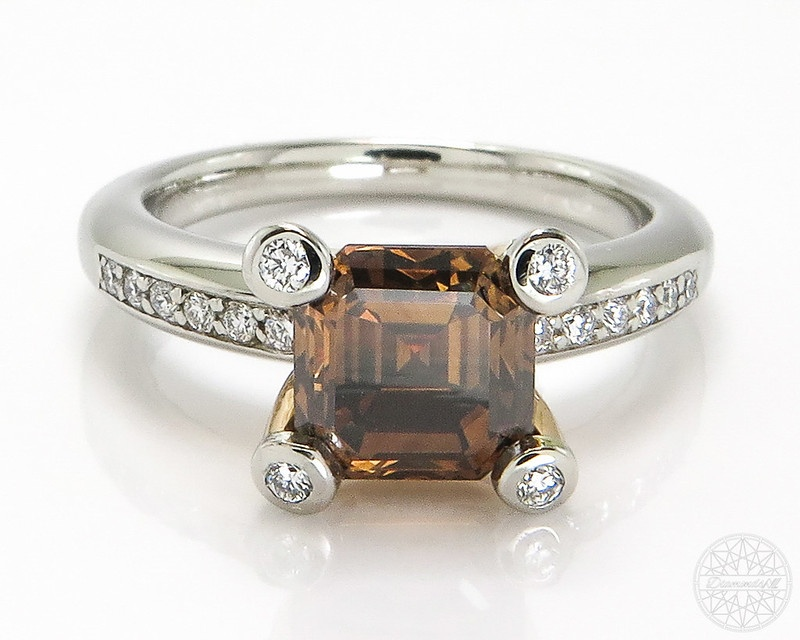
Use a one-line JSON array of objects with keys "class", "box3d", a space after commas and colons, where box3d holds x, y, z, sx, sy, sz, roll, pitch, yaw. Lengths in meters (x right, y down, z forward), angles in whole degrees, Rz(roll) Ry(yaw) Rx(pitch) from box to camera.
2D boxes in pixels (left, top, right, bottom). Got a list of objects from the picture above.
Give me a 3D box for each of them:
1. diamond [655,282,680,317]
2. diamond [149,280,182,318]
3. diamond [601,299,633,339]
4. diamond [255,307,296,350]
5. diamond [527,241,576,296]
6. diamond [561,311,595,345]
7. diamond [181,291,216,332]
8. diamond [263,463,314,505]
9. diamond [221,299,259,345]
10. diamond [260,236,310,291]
[{"class": "diamond", "box3d": [0.578, -0.046, 1.998, 0.075, 0.074, 0.017, 14, -44, -33]}, {"class": "diamond", "box3d": [-0.507, -0.048, 1.953, 0.073, 0.032, 0.083, 11, -69, 26]}, {"class": "diamond", "box3d": [0.453, -0.002, 1.900, 0.074, 0.075, 0.017, 48, -55, -8]}, {"class": "diamond", "box3d": [-0.257, 0.019, 1.818, 0.077, 0.087, 0.040, 27, -86, -9]}, {"class": "diamond", "box3d": [0.258, -0.084, 1.529, 0.087, 0.034, 0.081, -1, -54, -2]}, {"class": "diamond", "box3d": [0.371, 0.015, 1.872, 0.072, 0.030, 0.081, -1, -54, -2]}, {"class": "diamond", "box3d": [-0.420, -0.027, 1.918, 0.082, 0.025, 0.084, 56, -43, 8]}, {"class": "diamond", "box3d": [-0.204, 0.297, 1.606, 0.081, 0.029, 0.084, 8, -41, 22]}, {"class": "diamond", "box3d": [-0.331, 0.008, 1.854, 0.073, 0.043, 0.101, 12, -55, -11]}, {"class": "diamond", "box3d": [-0.198, -0.092, 1.510, 0.088, 0.041, 0.094, -16, -55, 9]}]
